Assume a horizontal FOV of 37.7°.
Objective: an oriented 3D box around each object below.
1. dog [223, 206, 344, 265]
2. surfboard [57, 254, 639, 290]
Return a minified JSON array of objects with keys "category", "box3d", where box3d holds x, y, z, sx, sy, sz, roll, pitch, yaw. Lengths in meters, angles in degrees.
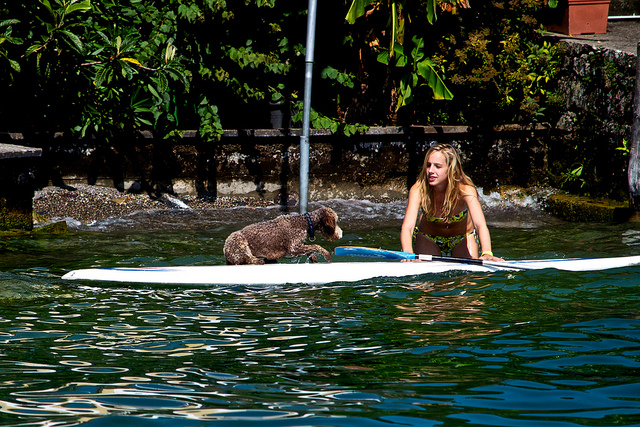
[{"category":"dog","box3d":[-0.432,0.271,10.585,1.879,0.703,0.521,-2,4,-8]},{"category":"surfboard","box3d":[-0.187,0.711,10.602,5.466,0.296,0.421,-1,4,-4]}]
